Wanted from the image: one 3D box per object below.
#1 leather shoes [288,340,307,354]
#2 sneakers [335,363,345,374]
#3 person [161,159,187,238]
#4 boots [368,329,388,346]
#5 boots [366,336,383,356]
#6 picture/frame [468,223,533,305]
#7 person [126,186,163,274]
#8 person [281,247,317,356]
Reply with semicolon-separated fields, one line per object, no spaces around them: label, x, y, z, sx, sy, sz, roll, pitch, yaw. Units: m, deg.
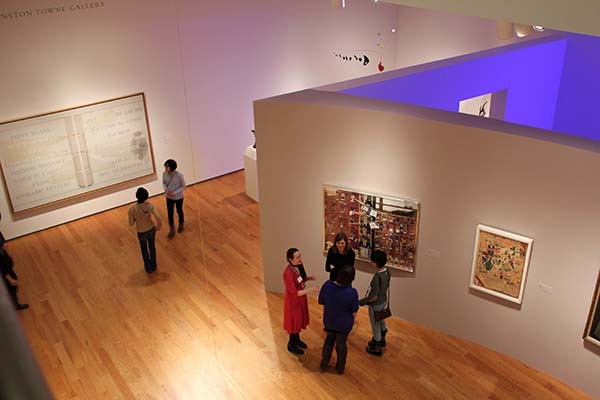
leather shoes;-0.067;2.188;5.659;0.302;0.225;0.116;13;37;19
sneakers;0.555;2.341;5.303;0.068;0.186;0.076;-5;-7;10
person;-2.765;-0.083;8.322;0.423;1.786;1.321;-3;17;-19
boots;1.146;2.023;5.571;0.114;0.238;0.238;-32;48;-32
boots;1.085;2.136;5.531;0.227;0.229;0.113;25;47;26
picture/frame;2.686;0.815;5.032;0.824;1.257;0.086;18;32;33
person;-2.907;0.561;7.110;0.525;1.787;0.840;-4;17;-24
person;-0.033;1.448;5.436;0.391;1.676;0.461;4;16;3
